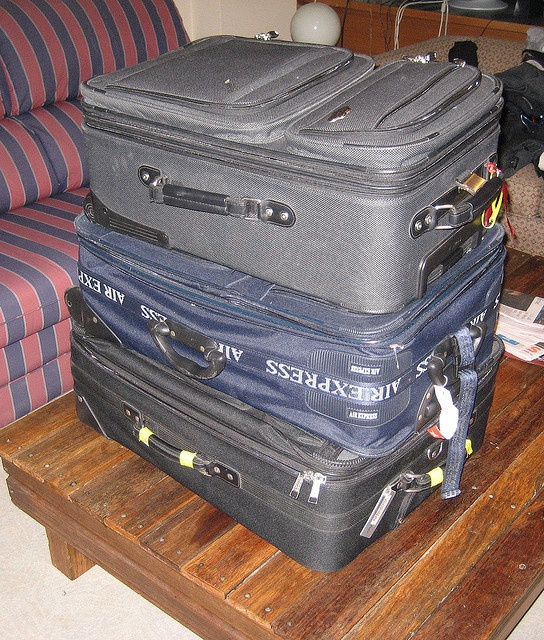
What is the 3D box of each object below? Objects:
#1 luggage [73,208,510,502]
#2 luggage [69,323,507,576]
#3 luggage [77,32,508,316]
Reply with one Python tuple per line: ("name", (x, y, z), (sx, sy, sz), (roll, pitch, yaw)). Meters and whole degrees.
("luggage", (0.046, -0.064, 1.102), (0.576, 0.197, 0.704), (-26, 38, -34))
("luggage", (0.051, 0.113, 1.202), (0.861, 0.179, 0.752), (-8, 30, -22))
("luggage", (-0.012, -0.205, 0.946), (0.578, 0.226, 0.429), (22, 41, 29))
